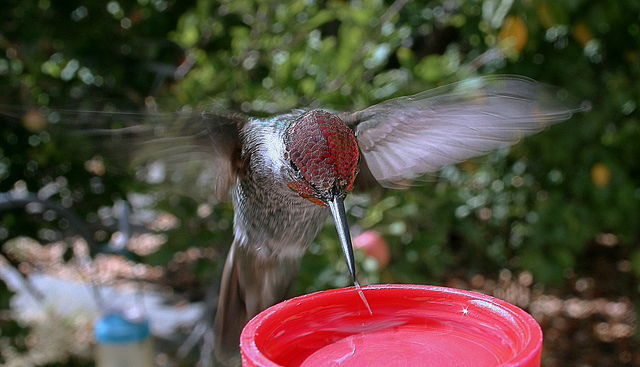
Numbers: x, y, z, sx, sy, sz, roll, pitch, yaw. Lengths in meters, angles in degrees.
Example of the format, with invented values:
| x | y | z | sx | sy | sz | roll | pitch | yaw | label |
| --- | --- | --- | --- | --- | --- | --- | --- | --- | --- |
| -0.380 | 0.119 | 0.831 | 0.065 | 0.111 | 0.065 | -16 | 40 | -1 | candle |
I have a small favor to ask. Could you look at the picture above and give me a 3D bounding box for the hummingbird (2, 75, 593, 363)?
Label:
| x | y | z | sx | sy | sz | roll | pitch | yaw | label |
| --- | --- | --- | --- | --- | --- | --- | --- | --- | --- |
| -0.141 | -0.109 | 4.208 | 1.611 | 2.495 | 1.966 | 1 | 92 | -9 | hummingbird |
